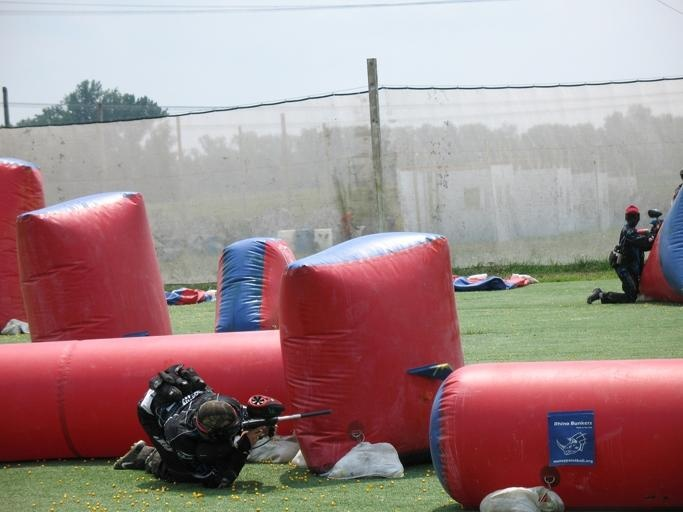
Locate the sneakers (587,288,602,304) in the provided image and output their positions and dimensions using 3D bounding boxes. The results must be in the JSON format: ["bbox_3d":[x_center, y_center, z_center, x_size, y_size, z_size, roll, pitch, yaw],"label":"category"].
[{"bbox_3d":[3.419,0.538,19.626,0.224,0.199,0.331,-3,4,6],"label":"sneakers"}]

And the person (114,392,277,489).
[{"bbox_3d":[-1.442,1.819,14.551,1.239,0.515,0.895,-7,16,45],"label":"person"}]

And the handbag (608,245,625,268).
[{"bbox_3d":[3.755,0.013,19.762,0.102,0.263,0.192,8,3,-5],"label":"handbag"}]

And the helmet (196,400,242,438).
[{"bbox_3d":[-1.208,1.607,14.435,0.412,0.340,0.302,-10,47,-14],"label":"helmet"}]

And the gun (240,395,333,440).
[{"bbox_3d":[-0.570,1.639,14.861,1.300,0.468,0.346,-2,2,-37],"label":"gun"}]

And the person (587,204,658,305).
[{"bbox_3d":[3.888,-0.016,19.704,0.632,1.283,1.209,1,6,44],"label":"person"}]
